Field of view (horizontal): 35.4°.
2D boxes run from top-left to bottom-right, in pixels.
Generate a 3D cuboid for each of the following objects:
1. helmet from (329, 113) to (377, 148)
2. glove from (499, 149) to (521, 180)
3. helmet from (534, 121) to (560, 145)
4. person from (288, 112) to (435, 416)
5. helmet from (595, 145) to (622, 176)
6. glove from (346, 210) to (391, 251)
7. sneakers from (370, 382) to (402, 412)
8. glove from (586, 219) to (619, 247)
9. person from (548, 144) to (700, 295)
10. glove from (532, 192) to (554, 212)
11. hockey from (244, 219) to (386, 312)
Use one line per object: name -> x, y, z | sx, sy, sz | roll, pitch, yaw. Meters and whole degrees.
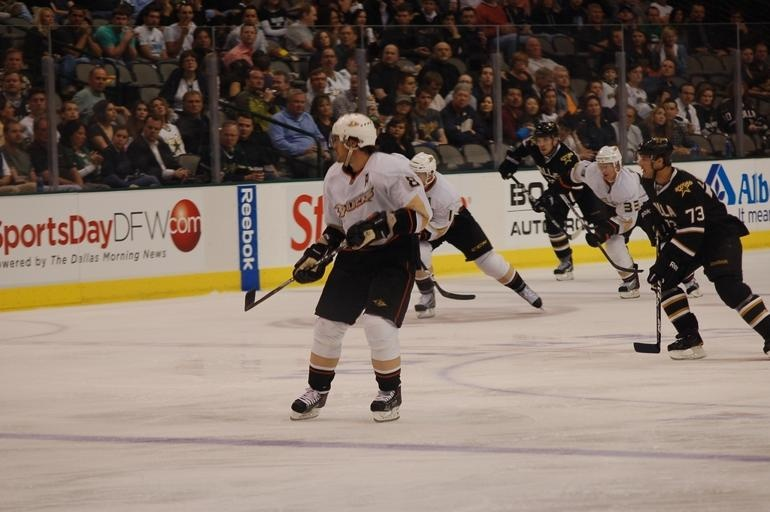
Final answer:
helmet -> -0.210, -0.860, 8.220 | 0.309, 0.196, 0.214 | 24, 13, 5
glove -> 1.358, -0.979, 13.037 | 0.329, 0.217, 0.122 | -49, -16, -1
helmet -> 1.666, -1.305, 12.728 | 0.263, 0.233, 0.308 | -4, -8, 37
person -> -0.197, 0.062, 8.235 | 0.935, 2.013, 0.870 | 3, 17, 14
helmet -> 2.238, -0.961, 12.024 | 0.234, 0.253, 0.277 | 1, 15, 8
glove -> -0.107, -0.167, 8.066 | 0.348, 0.119, 0.183 | -20, 18, 24
sneakers -> 0.008, 0.955, 8.116 | 0.124, 0.144, 0.251 | 12, 18, 39
glove -> 2.194, -0.240, 12.217 | 0.398, 0.133, 0.223 | -24, 10, -20
person -> 2.220, -0.334, 11.575 | 0.965, 1.461, 1.301 | -37, 32, -13
glove -> 1.718, -0.578, 13.114 | 0.262, 0.085, 0.170 | -30, 27, 0
hockey -> -0.629, 0.095, 9.904 | 1.371, 0.331, 0.312 | -30, -7, -19
